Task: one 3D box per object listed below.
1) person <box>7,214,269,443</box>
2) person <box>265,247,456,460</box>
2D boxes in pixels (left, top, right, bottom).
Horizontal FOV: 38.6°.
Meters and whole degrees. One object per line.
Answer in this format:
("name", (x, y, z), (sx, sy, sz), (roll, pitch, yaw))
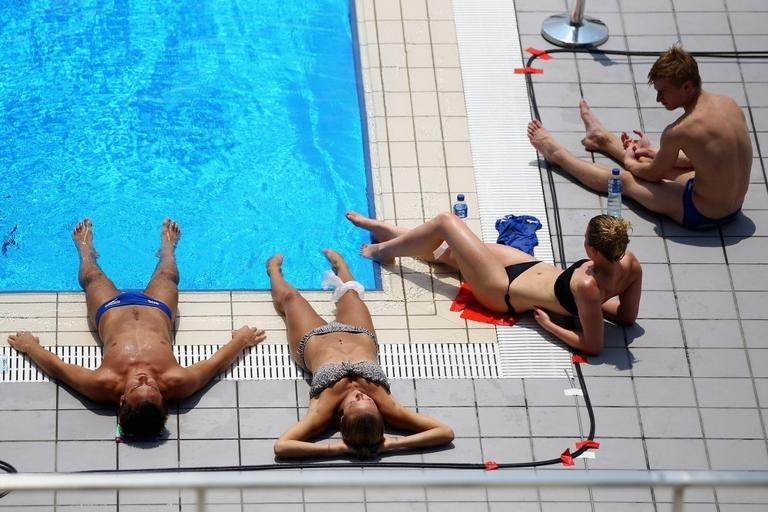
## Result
("person", (-2.125, 0.663, 8.982), (1.746, 0.343, 1.629), (-1, 42, -18))
("person", (-0.380, 0.868, 8.945), (1.259, 0.539, 1.497), (-7, 63, -17))
